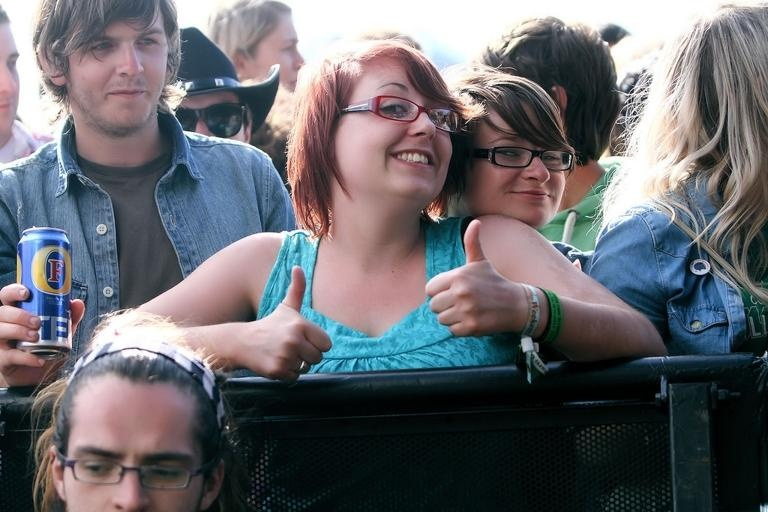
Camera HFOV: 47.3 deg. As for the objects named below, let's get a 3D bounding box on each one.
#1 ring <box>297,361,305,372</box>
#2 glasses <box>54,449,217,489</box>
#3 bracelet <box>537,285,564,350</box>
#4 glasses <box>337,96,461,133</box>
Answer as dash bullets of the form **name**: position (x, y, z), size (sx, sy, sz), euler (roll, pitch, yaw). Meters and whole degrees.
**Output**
- **ring**: position (-0.292, 0.401, 3.129), size (0.032, 0.028, 0.032), euler (-4, 9, 1)
- **glasses**: position (-0.807, 0.697, 2.814), size (0.500, 0.127, 0.102), euler (-4, 11, -2)
- **bracelet**: position (0.596, 0.211, 3.104), size (0.057, 0.144, 0.129), euler (6, -14, -29)
- **glasses**: position (0.066, -0.541, 3.372), size (0.464, 0.159, 0.165), euler (-4, 10, 0)
